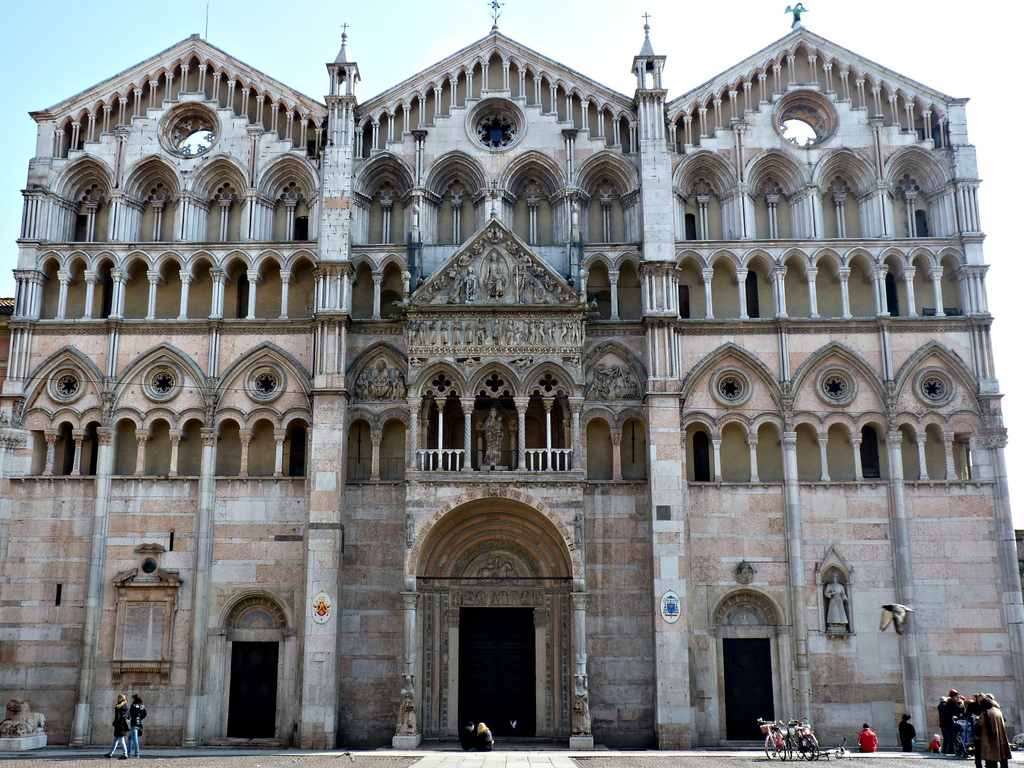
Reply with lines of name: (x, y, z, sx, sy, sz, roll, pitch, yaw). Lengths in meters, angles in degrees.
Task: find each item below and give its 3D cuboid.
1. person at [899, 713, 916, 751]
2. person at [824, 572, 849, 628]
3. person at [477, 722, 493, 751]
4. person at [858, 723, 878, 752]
person: (15.778, 13.859, 41.724, 0.628, 1.425, 1.253, -7, -19, 18)
person: (13.526, 9.030, 43.440, 1.043, 2.289, 0.489, 2, -18, -11)
person: (-1.123, 13.506, 40.081, 0.806, 1.201, 0.854, -2, -5, -3)
person: (14.116, 14.019, 41.461, 0.924, 1.512, 1.005, -2, -9, 20)
